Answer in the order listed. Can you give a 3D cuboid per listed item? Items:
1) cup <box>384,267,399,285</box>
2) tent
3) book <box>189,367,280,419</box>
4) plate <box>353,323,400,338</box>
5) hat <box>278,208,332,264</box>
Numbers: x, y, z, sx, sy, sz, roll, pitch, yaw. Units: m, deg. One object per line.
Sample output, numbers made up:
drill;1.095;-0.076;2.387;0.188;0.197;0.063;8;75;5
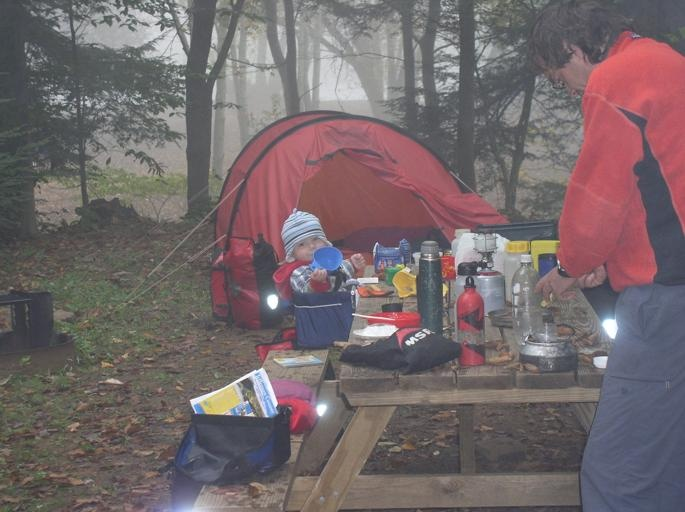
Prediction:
cup;0.435;0.177;7.629;0.138;0.139;0.130;-1;16;0
tent;0.078;-0.791;10.560;3.083;1.959;3.108;0;8;15
book;-0.765;1.014;5.944;0.473;0.150;0.359;-10;31;-3
plate;0.252;0.569;6.325;0.257;0.055;0.134;1;26;0
hat;-0.423;-0.287;9.104;0.471;0.562;0.520;-25;21;-22
